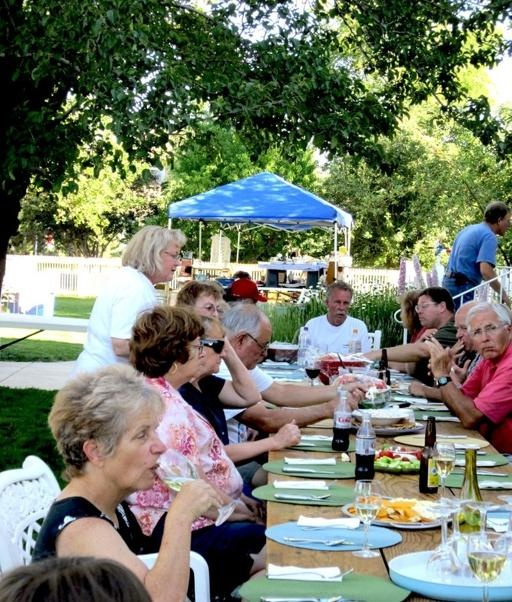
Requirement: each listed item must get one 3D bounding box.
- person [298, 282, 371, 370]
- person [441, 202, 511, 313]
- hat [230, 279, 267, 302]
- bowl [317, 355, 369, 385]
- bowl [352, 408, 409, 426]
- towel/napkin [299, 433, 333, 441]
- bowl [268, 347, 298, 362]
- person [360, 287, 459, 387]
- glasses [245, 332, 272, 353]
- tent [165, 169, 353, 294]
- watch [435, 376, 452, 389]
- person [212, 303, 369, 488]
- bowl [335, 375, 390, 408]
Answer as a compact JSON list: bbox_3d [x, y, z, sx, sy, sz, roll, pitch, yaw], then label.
[{"bbox_3d":[0.954,0.405,7.035,1.023,1.153,0.702,1,-7,-11],"label":"person"},{"bbox_3d":[2.864,-0.646,7.770,0.543,0.967,0.815,3,-1,-15],"label":"person"},{"bbox_3d":[-0.121,-0.099,6.900,0.422,0.187,0.250,4,20,-23],"label":"hat"},{"bbox_3d":[0.665,0.530,4.716,0.291,0.150,0.307,-1,-2,0],"label":"bowl"},{"bbox_3d":[0.799,0.697,3.620,0.422,0.080,0.358,-2,1,12],"label":"bowl"},{"bbox_3d":[0.341,0.783,3.437,0.197,0.028,0.078,0,2,20],"label":"towel/napkin"},{"bbox_3d":[0.282,0.598,6.611,0.223,0.110,0.201,0,0,5],"label":"bowl"},{"bbox_3d":[1.864,0.606,6.576,1.165,1.315,0.690,-8,9,11],"label":"person"},{"bbox_3d":[0.005,0.265,3.888,0.056,0.166,0.175,-33,-11,16],"label":"glasses"},{"bbox_3d":[-0.178,-1.825,13.442,3.958,1.364,2.784,12,-11,-8],"label":"tent"},{"bbox_3d":[1.208,0.531,3.868,0.045,0.063,0.088,5,-33,41],"label":"watch"},{"bbox_3d":[0.183,0.633,3.934,1.296,1.032,0.525,5,-1,-3],"label":"person"},{"bbox_3d":[0.734,0.577,3.961,0.268,0.110,0.267,2,-1,0],"label":"bowl"}]
